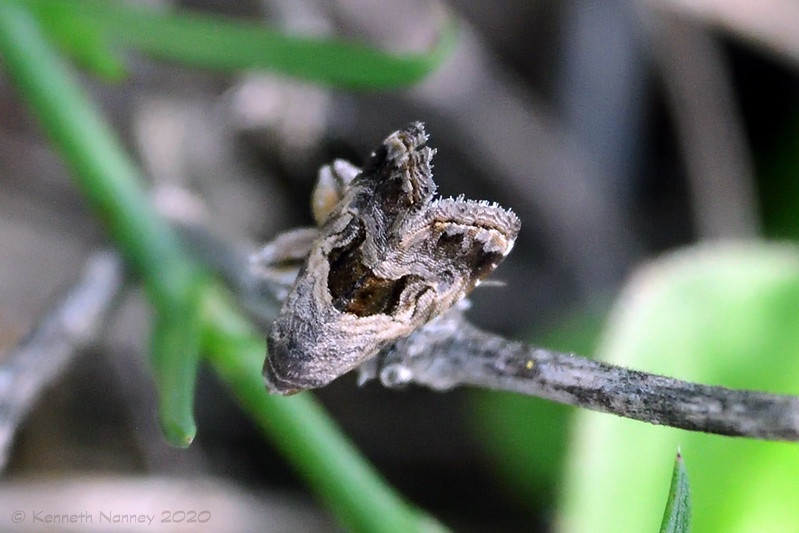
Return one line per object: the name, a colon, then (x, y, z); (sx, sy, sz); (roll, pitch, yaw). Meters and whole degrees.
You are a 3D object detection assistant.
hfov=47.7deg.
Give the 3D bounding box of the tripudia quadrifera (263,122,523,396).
tripudia quadrifera: (-0.027, 0.008, 0.748); (0.246, 0.079, 0.134); (-43, 84, -7)
